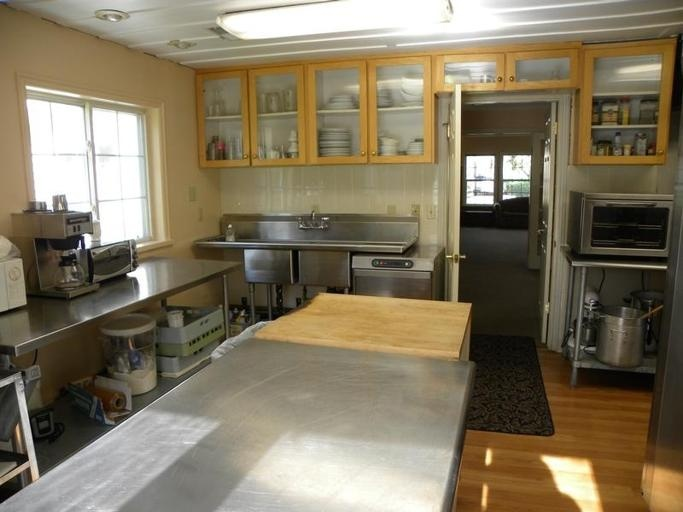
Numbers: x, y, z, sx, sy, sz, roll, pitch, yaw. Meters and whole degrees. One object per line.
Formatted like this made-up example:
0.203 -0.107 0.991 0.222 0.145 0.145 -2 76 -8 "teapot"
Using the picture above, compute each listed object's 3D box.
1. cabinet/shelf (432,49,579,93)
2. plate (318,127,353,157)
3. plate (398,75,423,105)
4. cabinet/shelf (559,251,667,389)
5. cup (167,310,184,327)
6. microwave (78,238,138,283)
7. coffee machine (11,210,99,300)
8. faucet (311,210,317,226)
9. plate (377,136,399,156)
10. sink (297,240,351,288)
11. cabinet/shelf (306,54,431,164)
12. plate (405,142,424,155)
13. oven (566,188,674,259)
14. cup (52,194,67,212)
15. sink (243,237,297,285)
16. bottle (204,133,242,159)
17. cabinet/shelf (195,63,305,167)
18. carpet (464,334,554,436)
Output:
1.284 -1.473 4.137 1.119 0.315 0.095 0 14 11 "cabinet/shelf"
-0.061 -0.981 4.513 0.278 0.174 0.259 -3 10 -15 "plate"
0.577 -1.372 4.321 0.184 0.239 0.053 4 15 25 "plate"
2.211 0.501 4.089 0.939 0.893 0.837 5 5 23 "cabinet/shelf"
-1.156 0.440 3.704 0.111 0.111 0.122 0 16 0 "cup"
-1.421 0.043 3.439 0.428 0.237 0.262 -11 -7 22 "microwave"
-1.695 -0.011 3.133 0.418 0.458 0.276 -2 6 18 "coffee machine"
-0.264 -0.363 4.944 0.043 0.141 0.077 2 -5 1 "faucet"
0.393 -0.933 4.428 0.182 0.136 0.148 -1 11 -1 "plate"
-0.100 0.100 4.486 0.492 0.309 0.262 1 6 23 "sink"
0.319 -1.231 4.576 1.194 0.868 0.427 6 17 24 "cabinet/shelf"
0.605 -0.900 4.388 0.122 0.093 0.116 -2 5 -32 "plate"
2.101 -0.204 4.204 0.843 0.486 0.847 1 -2 15 "oven"
-1.659 -0.313 3.072 0.067 0.087 0.053 -9 14 -27 "cup"
-0.583 0.076 4.746 0.607 0.262 0.591 -1 2 -19 "sink"
-1.058 -0.975 4.797 0.428 0.258 0.217 2 14 11 "bottle"
-0.747 -1.235 4.833 1.169 0.843 0.399 4 11 22 "cabinet/shelf"
1.277 0.966 4.116 0.593 0.019 1.310 5 23 12 "carpet"
